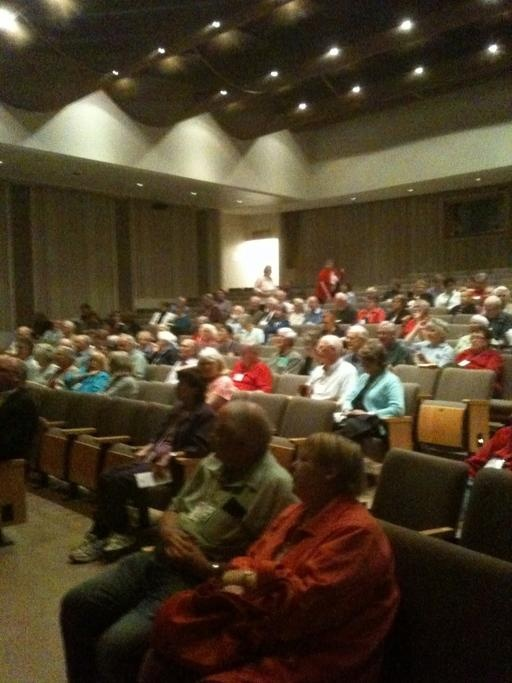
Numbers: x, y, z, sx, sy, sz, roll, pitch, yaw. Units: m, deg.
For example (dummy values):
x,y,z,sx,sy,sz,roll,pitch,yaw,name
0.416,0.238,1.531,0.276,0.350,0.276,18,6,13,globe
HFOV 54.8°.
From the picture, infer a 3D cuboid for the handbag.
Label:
x,y,z,sx,sy,sz,roll,pitch,yaw,name
-0.084,0.398,0.734,0.118,0.054,0.145,6,-14,-21,handbag
